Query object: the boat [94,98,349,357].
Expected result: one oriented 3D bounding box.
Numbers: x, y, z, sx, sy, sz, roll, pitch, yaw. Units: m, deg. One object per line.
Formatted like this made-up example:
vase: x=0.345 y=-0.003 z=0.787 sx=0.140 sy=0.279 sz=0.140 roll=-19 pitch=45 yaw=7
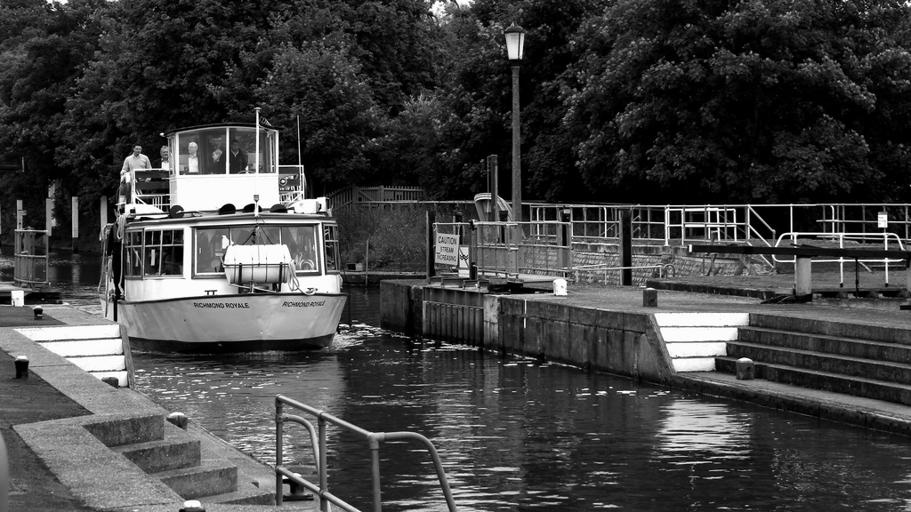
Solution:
boat: x=-7.860 y=-0.931 z=50.116 sx=8.073 sy=8.057 sz=4.624 roll=0 pitch=4 yaw=25
